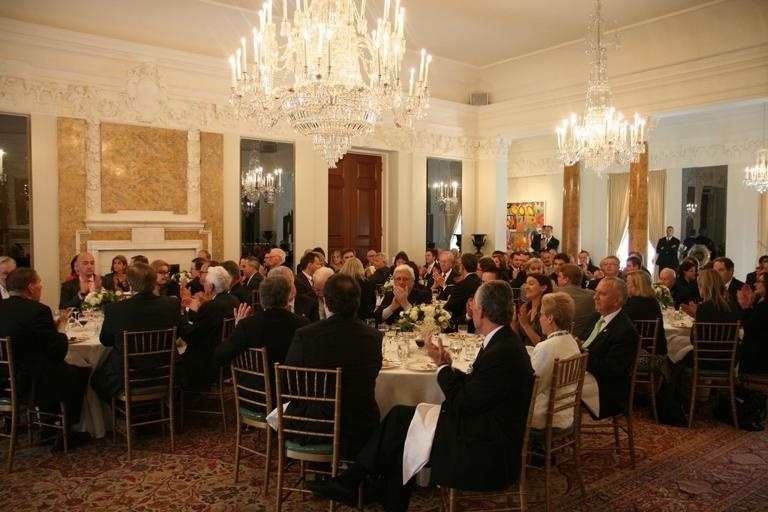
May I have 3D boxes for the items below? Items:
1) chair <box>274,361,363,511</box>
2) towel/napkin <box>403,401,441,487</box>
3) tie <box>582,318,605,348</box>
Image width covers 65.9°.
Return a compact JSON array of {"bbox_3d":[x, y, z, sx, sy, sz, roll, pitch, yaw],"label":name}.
[{"bbox_3d":[-0.697,1.706,5.661,0.770,1.478,0.982,0,3,-12],"label":"chair"},{"bbox_3d":[0.368,1.677,5.278,0.153,0.648,0.364,22,-16,-40],"label":"towel/napkin"},{"bbox_3d":[2.384,0.876,6.729,0.075,0.260,0.235,31,4,-7],"label":"tie"}]
